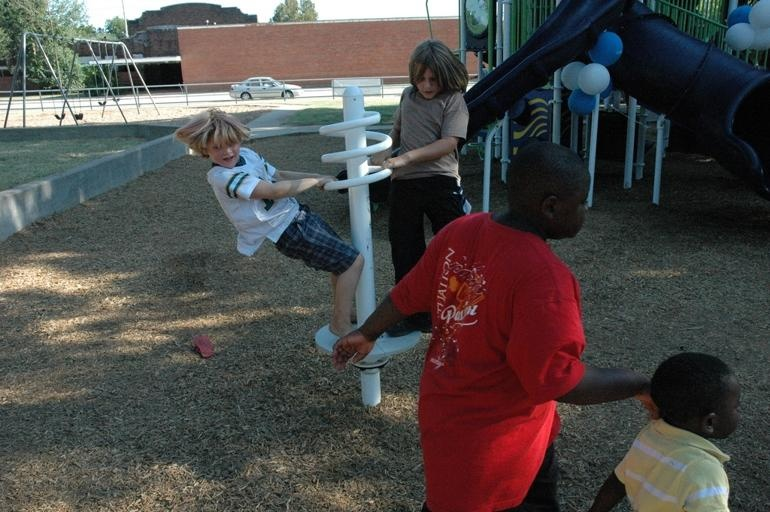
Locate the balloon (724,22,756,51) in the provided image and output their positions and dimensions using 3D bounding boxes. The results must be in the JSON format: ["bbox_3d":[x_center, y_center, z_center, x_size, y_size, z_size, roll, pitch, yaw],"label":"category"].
[{"bbox_3d":[3.443,-2.134,6.286,0.266,0.272,0.246,-14,10,-14],"label":"balloon"}]

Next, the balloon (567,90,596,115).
[{"bbox_3d":[2.113,-1.615,6.752,0.275,0.273,0.259,-10,6,-24],"label":"balloon"}]

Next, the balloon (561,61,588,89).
[{"bbox_3d":[1.904,-1.879,6.566,0.246,0.255,0.223,-18,43,-7],"label":"balloon"}]

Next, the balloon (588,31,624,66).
[{"bbox_3d":[2.117,-1.977,6.092,0.318,0.315,0.294,-7,23,-31],"label":"balloon"}]

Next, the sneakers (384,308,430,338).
[{"bbox_3d":[0.155,0.445,4.176,0.276,0.078,0.194,-13,5,15],"label":"sneakers"}]

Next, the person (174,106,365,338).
[{"bbox_3d":[-0.642,-0.208,3.845,1.043,1.347,0.396,3,17,19],"label":"person"}]

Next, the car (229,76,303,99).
[{"bbox_3d":[-5.045,-6.952,26.369,2.831,0.854,1.554,4,16,23],"label":"car"}]

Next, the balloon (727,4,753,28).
[{"bbox_3d":[3.492,-2.338,6.330,0.252,0.257,0.251,4,13,33],"label":"balloon"}]
